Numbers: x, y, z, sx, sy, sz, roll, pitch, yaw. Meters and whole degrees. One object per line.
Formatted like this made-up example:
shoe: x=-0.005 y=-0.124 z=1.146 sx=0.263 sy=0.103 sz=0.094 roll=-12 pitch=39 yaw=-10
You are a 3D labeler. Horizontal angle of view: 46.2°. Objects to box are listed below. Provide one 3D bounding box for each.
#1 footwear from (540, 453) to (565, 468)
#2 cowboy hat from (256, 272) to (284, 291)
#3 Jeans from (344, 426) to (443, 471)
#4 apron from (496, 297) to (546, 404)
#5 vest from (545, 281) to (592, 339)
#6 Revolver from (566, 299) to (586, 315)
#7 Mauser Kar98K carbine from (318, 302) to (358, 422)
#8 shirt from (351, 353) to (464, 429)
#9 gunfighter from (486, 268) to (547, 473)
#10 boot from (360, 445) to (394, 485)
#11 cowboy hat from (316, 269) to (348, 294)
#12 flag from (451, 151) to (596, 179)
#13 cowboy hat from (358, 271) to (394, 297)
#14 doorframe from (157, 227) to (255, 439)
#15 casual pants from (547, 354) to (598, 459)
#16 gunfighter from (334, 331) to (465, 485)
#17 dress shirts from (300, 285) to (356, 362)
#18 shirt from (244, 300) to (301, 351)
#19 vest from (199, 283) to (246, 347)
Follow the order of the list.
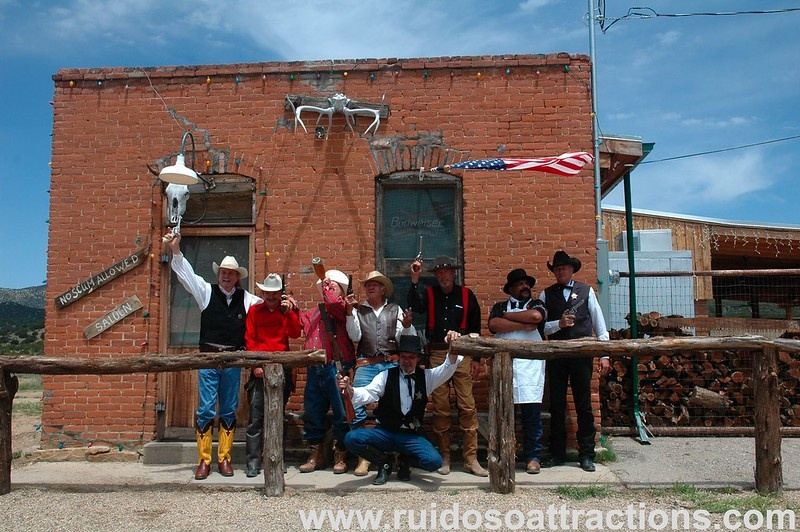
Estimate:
footwear: x=2.108 y=2.720 z=12.998 sx=0.389 sy=0.145 sz=0.133 roll=4 pitch=-6 yaw=-10
cowboy hat: x=-1.779 y=0.239 z=12.856 sx=0.296 sy=0.264 sz=0.290 roll=2 pitch=-9 yaw=-17
Jeans: x=-0.106 y=2.411 z=12.444 sx=1.195 sy=0.439 sz=0.677 roll=6 pitch=19 yaw=-3
apron: x=1.634 y=1.178 z=12.830 sx=0.738 sy=1.515 sz=0.395 roll=-1 pitch=29 yaw=3
vest: x=2.334 y=0.658 z=12.982 sx=0.772 sy=0.925 sz=0.537 roll=-2 pitch=-12 yaw=12
Revolver: x=2.405 y=0.572 z=12.957 sx=0.337 sy=0.208 sz=0.135 roll=6 pitch=-12 yaw=-40
Mauser Kar98K carbine: x=-0.834 y=1.271 z=12.664 sx=0.340 sy=1.693 sz=0.131 roll=-16 pitch=-13 yaw=-25
shirt: x=0.069 y=1.540 z=12.631 sx=1.723 sy=1.071 sz=0.952 roll=6 pitch=9 yaw=-1
gunfighter: x=1.645 y=1.407 z=12.934 sx=0.932 sy=2.756 sz=0.813 roll=-13 pitch=-21 yaw=41
boot: x=-0.277 y=2.663 z=12.485 sx=0.233 sy=0.428 sz=0.435 roll=-6 pitch=14 yaw=27
cowboy hat: x=-0.897 y=0.198 z=12.954 sx=0.330 sy=0.368 sz=0.641 roll=-2 pitch=-9 yaw=4
flag: x=1.686 y=-1.393 z=13.261 sx=2.129 sy=0.280 sz=0.657 roll=2 pitch=2 yaw=-3
cowboy hat: x=-0.288 y=0.227 z=13.010 sx=0.352 sy=0.151 sz=0.396 roll=-9 pitch=-41 yaw=33
doorframe: x=-2.969 y=1.137 z=14.237 sx=1.722 sy=3.682 sz=0.388 roll=-13 pitch=35 yaw=-37
casual pants: x=2.345 y=1.926 z=13.133 sx=0.685 sy=1.874 sz=0.453 roll=-1 pitch=20 yaw=11
gunfighter: x=-0.047 y=1.881 z=12.540 sx=2.041 sy=2.155 sz=1.243 roll=2 pitch=-10 yaw=-2
dress shirts: x=-0.960 y=0.828 z=12.790 sx=0.683 sy=0.937 sz=0.683 roll=-17 pitch=-36 yaw=19
shirt: x=-1.800 y=0.880 z=12.991 sx=0.829 sy=0.882 sz=0.665 roll=5 pitch=-16 yaw=-19
vest: x=-2.438 y=0.690 z=13.016 sx=0.648 sy=0.881 sz=0.477 roll=3 pitch=1 yaw=-12
